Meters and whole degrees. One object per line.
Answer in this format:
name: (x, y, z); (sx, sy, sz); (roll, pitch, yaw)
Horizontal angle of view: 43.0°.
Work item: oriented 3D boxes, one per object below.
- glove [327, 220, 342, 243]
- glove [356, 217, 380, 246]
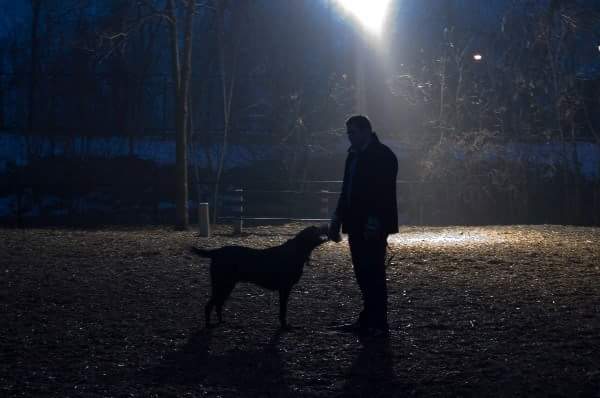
glove: (0.791, 0.772, 18.319); (0.290, 0.425, 0.675); (-2, 0, 2)
glove: (1.664, 0.716, 18.138); (0.443, 0.526, 0.608); (0, 0, 11)
